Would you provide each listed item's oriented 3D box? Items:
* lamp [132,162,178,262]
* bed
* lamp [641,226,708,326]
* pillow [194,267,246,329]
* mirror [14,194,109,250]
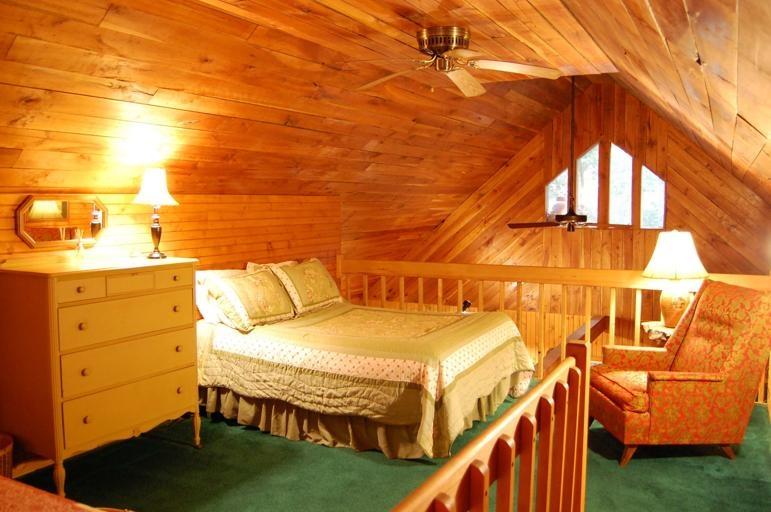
[{"bbox_3d":[-1.742,-0.271,4.325,0.297,0.728,0.772,-7,15,-19],"label":"lamp"},{"bbox_3d":[-0.262,0.737,4.644,2.295,0.861,1.552,-1,4,22],"label":"bed"},{"bbox_3d":[2.376,0.223,4.662,0.534,0.611,0.473,1,-2,-23],"label":"lamp"},{"bbox_3d":[-1.291,0.344,4.727,0.156,0.391,0.470,-5,3,16],"label":"pillow"},{"bbox_3d":[-2.324,-0.220,4.090,0.035,0.366,0.727,8,7,20],"label":"mirror"}]
